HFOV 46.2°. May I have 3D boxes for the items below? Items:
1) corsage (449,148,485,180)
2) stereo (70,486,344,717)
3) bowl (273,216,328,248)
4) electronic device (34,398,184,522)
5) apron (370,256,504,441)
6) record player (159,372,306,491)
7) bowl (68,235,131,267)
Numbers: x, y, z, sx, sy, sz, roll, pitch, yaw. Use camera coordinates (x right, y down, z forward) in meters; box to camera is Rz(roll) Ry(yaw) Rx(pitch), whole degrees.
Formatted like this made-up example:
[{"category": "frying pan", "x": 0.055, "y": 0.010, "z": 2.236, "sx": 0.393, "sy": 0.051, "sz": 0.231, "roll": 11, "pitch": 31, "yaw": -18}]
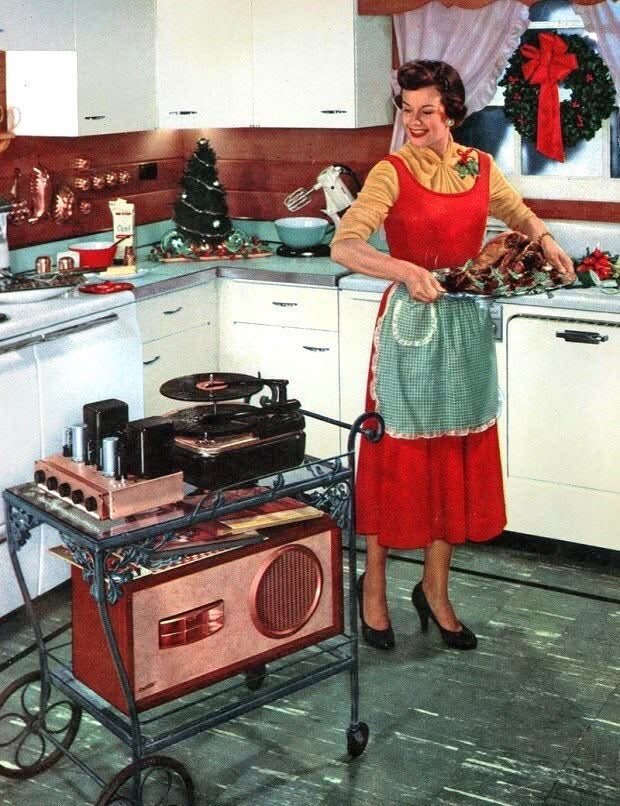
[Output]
[{"category": "corsage", "x": 0.390, "y": -0.587, "z": 1.786, "sx": 0.094, "sy": 0.081, "sz": 0.026, "roll": -2, "pitch": -2, "yaw": -16}, {"category": "stereo", "x": -0.124, "y": 0.374, "z": 1.338, "sx": 0.518, "sy": 0.272, "sz": 0.076, "roll": -8, "pitch": 10, "yaw": -44}, {"category": "bowl", "x": -0.040, "y": -0.787, "z": 3.433, "sx": 0.220, "sy": 0.085, "sz": 0.202, "roll": 0, "pitch": 9, "yaw": 0}, {"category": "electronic device", "x": -0.356, "y": 0.092, "z": 1.257, "sx": 0.171, "sy": 0.136, "sz": 0.237, "roll": -14, "pitch": 21, "yaw": -40}, {"category": "apron", "x": 0.339, "y": -0.107, "z": 1.894, "sx": 0.360, "sy": 0.398, "sz": 0.179, "roll": -2, "pitch": 7, "yaw": -1}, {"category": "record player", "x": -0.138, "y": 0.041, "z": 1.391, "sx": 0.251, "sy": 0.155, "sz": 0.241, "roll": -12, "pitch": 18, "yaw": -35}, {"category": "bowl", "x": -0.906, "y": -0.647, "z": 3.051, "sx": 0.265, "sy": 0.098, "sz": 0.175, "roll": 3, "pitch": 12, "yaw": 18}]
